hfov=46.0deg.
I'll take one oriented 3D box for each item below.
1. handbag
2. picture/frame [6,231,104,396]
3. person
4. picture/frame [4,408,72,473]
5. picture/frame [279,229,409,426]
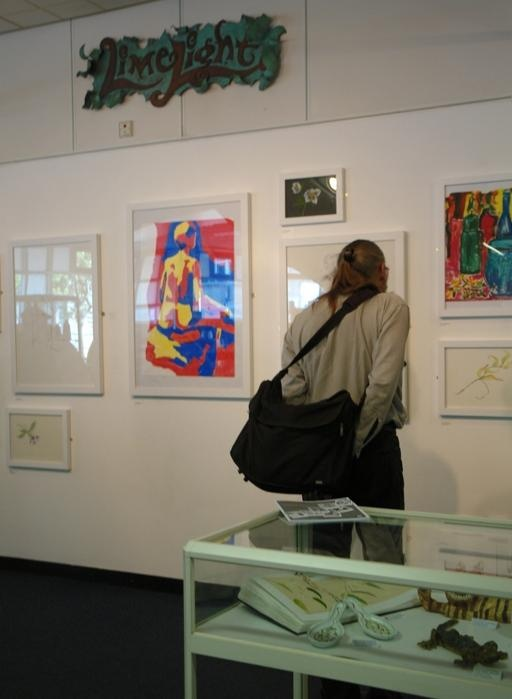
[{"bbox_3d":[0.125,0.316,2.174,0.443,0.386,0.257,6,-3,33],"label":"handbag"},{"bbox_3d":[-1.255,-0.211,3.780,0.695,0.961,0.082,-2,-2,23],"label":"picture/frame"},{"bbox_3d":[0.355,0.329,2.361,0.453,1.469,0.382,3,8,24],"label":"person"},{"bbox_3d":[-1.387,0.564,3.849,0.498,0.378,0.091,-2,-2,27],"label":"picture/frame"},{"bbox_3d":[0.472,-0.172,3.300,0.665,0.034,1.151,4,-44,8],"label":"picture/frame"}]
